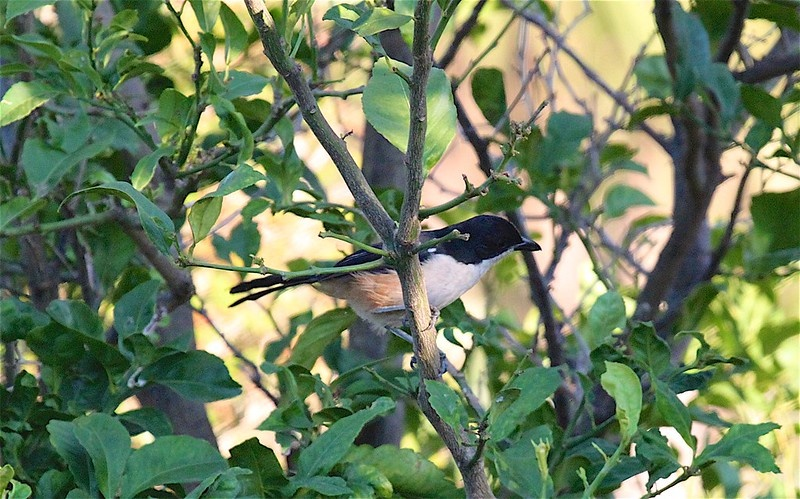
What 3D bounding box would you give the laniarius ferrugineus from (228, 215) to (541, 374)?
[{"bbox_3d":[-0.154,0.147,4.545,1.516,0.723,0.405,4,-19,16],"label":"laniarius ferrugineus"}]
